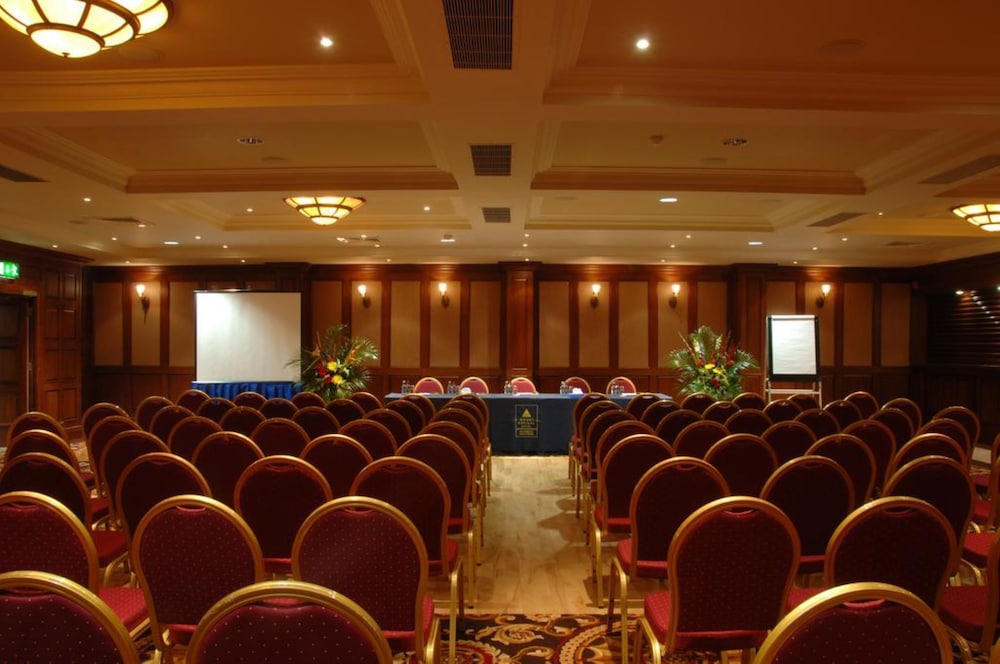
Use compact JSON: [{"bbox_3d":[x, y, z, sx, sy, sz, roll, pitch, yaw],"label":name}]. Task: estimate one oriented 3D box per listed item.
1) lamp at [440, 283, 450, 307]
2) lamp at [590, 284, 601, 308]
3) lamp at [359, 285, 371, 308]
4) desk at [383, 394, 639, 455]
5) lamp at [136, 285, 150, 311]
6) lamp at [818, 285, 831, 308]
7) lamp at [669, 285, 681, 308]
[{"bbox_3d":[-1.109,-0.728,14.393,0.217,0.485,0.113,0,-4,-3],"label":"lamp"},{"bbox_3d":[1.905,-0.733,14.476,0.160,0.468,0.267,1,12,-7],"label":"lamp"},{"bbox_3d":[-2.720,-0.715,14.452,0.235,0.449,0.134,0,-4,-8],"label":"lamp"},{"bbox_3d":[0.261,1.494,10.736,4.128,0.974,0.677,3,-21,-23],"label":"desk"},{"bbox_3d":[-7.306,-0.693,14.639,0.342,0.559,0.097,-1,-4,6],"label":"lamp"},{"bbox_3d":[6.642,-0.735,14.685,0.325,0.482,0.120,2,-5,-28],"label":"lamp"},{"bbox_3d":[3.547,-0.725,14.515,0.235,0.470,0.095,1,-4,-12],"label":"lamp"}]
